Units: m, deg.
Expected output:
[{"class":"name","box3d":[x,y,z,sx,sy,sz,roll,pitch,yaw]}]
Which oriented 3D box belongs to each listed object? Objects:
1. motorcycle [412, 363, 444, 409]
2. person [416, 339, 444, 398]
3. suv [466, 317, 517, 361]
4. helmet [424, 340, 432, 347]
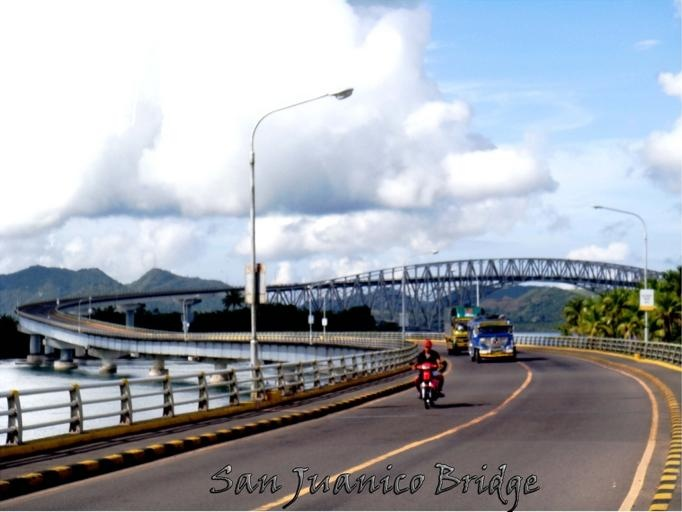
[{"class":"motorcycle","box3d":[2.970,4.298,29.175,0.818,1.557,0.705,-4,-7,3]},{"class":"person","box3d":[2.988,3.965,29.954,1.036,1.480,2.315,1,8,7]},{"class":"suv","box3d":[9.188,5.206,54.428,1.691,1.878,3.383,-1,-6,-1]},{"class":"helmet","box3d":[2.843,2.883,28.650,0.211,0.303,0.307,3,14,8]}]
